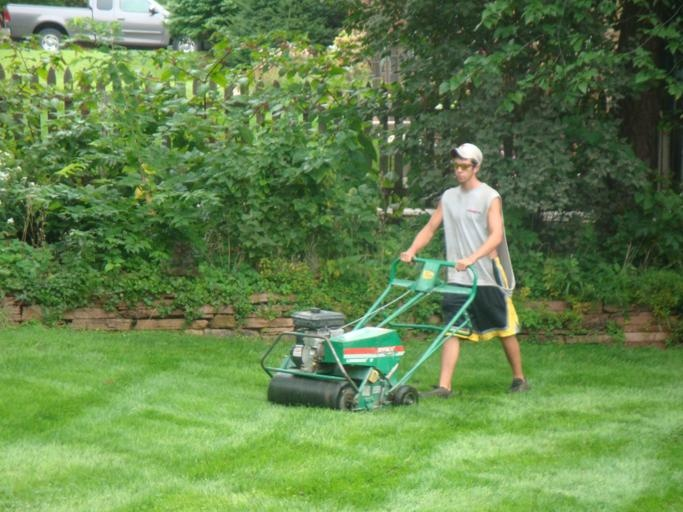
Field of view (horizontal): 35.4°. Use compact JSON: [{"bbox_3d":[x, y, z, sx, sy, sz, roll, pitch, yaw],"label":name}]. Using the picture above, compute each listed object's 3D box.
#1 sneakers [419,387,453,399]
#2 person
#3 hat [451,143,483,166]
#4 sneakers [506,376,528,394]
[{"bbox_3d":[1.003,1.478,11.376,0.347,0.149,0.126,6,-10,-7],"label":"sneakers"},{"bbox_3d":[1.436,0.154,11.620,1.083,2.704,1.166,-8,16,-39],"label":"person"},{"bbox_3d":[1.379,-1.157,11.552,0.344,0.183,0.241,28,-2,-37],"label":"hat"},{"bbox_3d":[1.923,1.420,11.696,0.142,0.119,0.289,-3,-5,19],"label":"sneakers"}]
